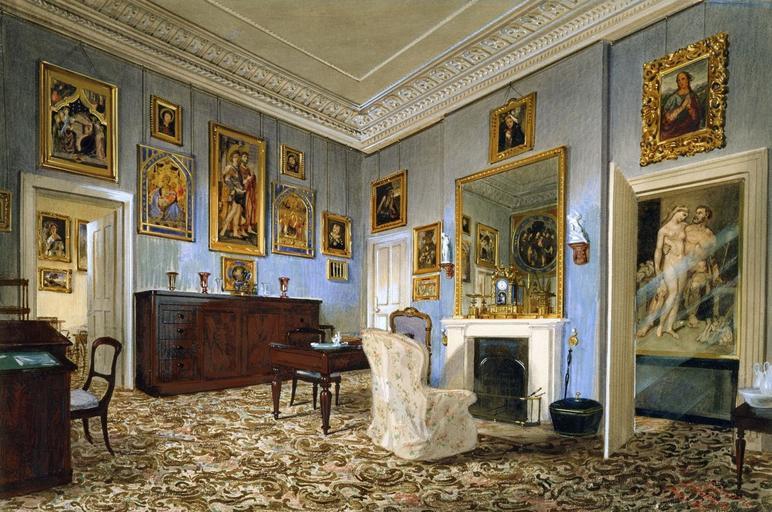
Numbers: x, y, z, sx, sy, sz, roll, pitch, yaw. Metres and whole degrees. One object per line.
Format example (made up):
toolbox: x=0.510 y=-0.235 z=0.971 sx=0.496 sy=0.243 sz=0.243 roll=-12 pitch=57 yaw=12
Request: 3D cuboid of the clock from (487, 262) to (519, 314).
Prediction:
clock: x=2.108 y=0.600 z=10.852 sx=0.519 sy=0.942 sz=0.256 roll=-8 pitch=-11 yaw=44

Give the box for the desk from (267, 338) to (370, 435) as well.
desk: x=-1.160 y=2.026 z=9.857 sx=1.123 sy=1.125 sz=1.497 roll=3 pitch=-3 yaw=13

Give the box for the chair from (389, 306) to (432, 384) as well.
chair: x=0.363 y=1.713 z=11.507 sx=0.957 sy=1.459 sz=0.903 roll=3 pitch=5 yaw=-5

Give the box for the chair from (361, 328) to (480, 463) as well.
chair: x=0.497 y=1.966 z=9.185 sx=1.575 sy=1.801 sz=1.552 roll=1 pitch=-2 yaw=-39

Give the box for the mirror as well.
mirror: x=2.304 y=-0.359 z=10.977 sx=0.137 sy=3.482 sz=2.797 roll=10 pitch=-13 yaw=-41
